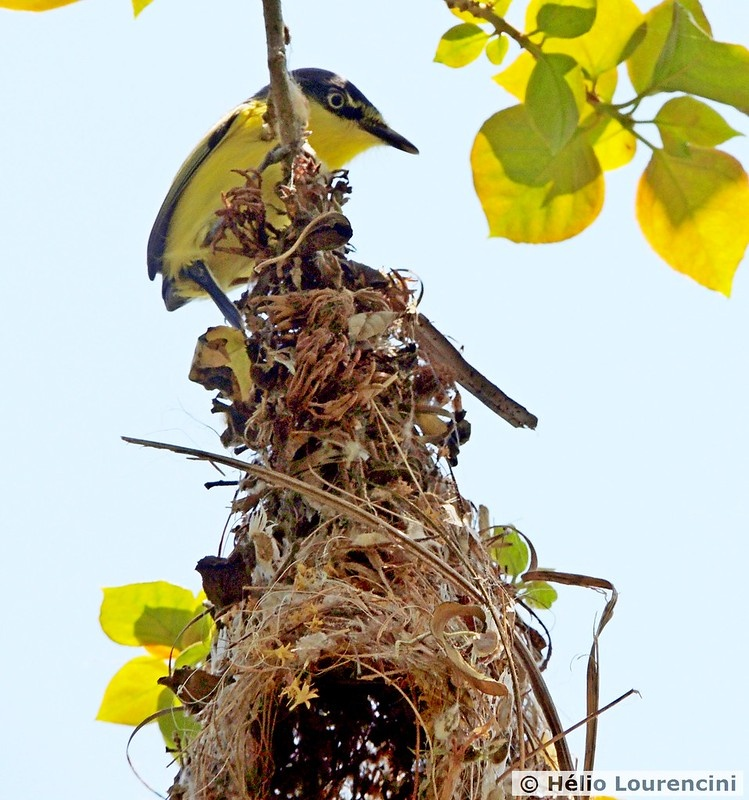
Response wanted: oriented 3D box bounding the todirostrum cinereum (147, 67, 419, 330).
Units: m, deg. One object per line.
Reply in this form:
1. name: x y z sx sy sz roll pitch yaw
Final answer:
1. todirostrum cinereum: -0.126 -0.241 2.408 0.259 0.361 0.200 11 -20 50
